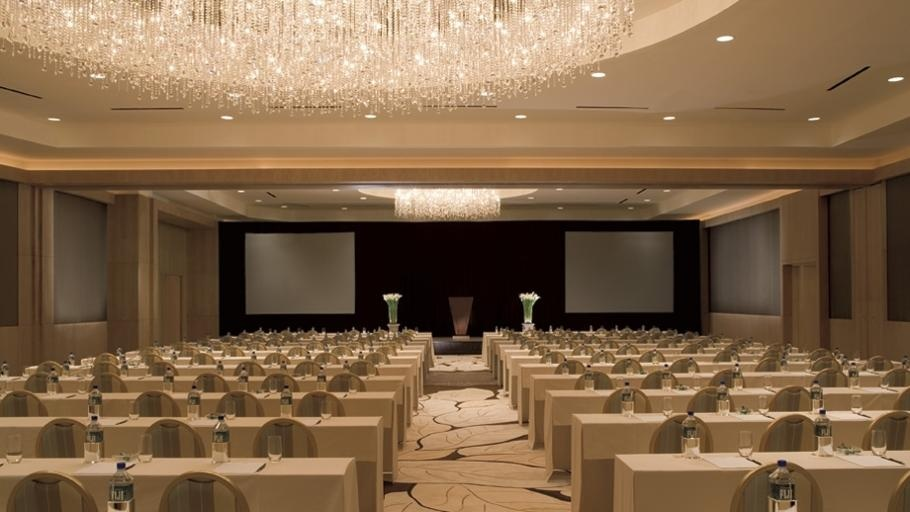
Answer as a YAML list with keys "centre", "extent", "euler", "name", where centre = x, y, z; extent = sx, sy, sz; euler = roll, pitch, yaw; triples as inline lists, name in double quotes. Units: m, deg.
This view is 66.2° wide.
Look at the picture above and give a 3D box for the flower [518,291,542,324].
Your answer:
- centre: [2.444, 1.746, 23.487]
  extent: [1.127, 1.138, 1.038]
  euler: [0, -8, -3]
  name: "flower"
